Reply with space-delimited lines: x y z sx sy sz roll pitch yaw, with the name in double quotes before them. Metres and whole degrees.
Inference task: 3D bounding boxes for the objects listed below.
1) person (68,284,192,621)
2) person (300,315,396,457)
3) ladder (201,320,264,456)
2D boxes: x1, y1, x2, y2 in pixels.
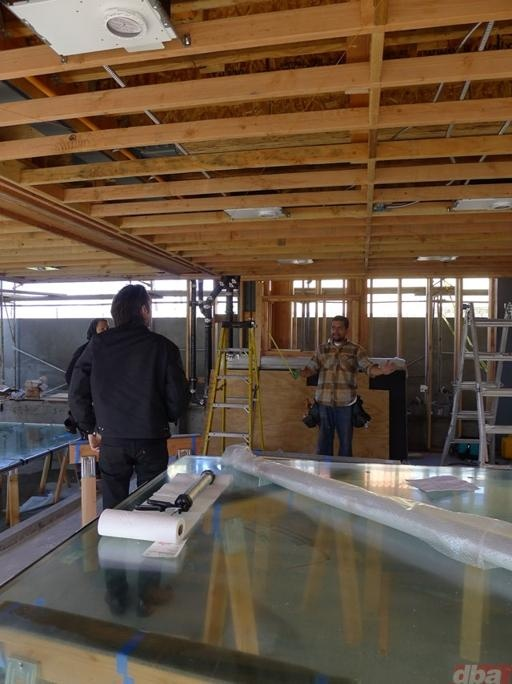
"person" -0.535 0.365 2.541 0.493 1.200 0.418 0 0 25
"person" 0.734 0.390 4.591 0.504 1.213 0.575 0 0 8
"ladder" -0.231 0.451 5.566 0.437 1.354 0.508 1 -1 3
